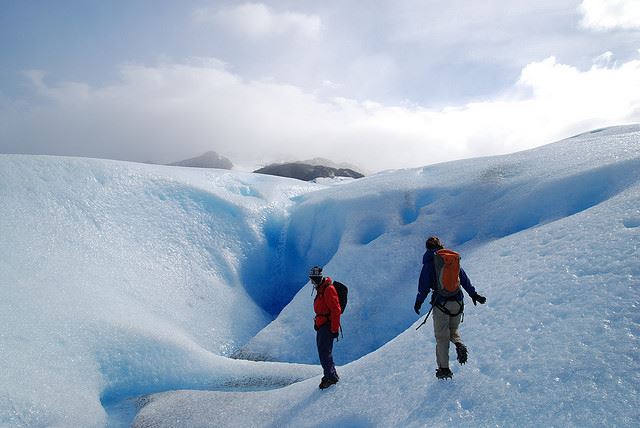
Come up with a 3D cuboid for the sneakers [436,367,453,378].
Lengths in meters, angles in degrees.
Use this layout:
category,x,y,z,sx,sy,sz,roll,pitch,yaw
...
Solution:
category,x,y,z,sx,sy,sz,roll,pitch,yaw
sneakers,3.089,3.976,12.631,0.340,0.263,0.135,5,60,10
